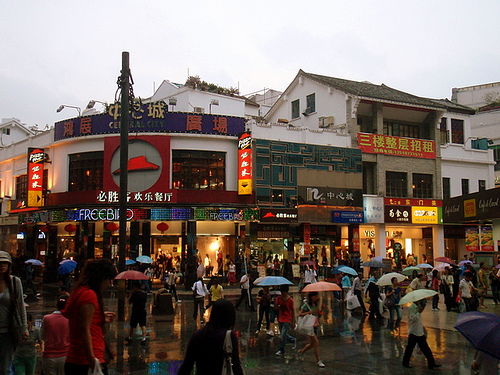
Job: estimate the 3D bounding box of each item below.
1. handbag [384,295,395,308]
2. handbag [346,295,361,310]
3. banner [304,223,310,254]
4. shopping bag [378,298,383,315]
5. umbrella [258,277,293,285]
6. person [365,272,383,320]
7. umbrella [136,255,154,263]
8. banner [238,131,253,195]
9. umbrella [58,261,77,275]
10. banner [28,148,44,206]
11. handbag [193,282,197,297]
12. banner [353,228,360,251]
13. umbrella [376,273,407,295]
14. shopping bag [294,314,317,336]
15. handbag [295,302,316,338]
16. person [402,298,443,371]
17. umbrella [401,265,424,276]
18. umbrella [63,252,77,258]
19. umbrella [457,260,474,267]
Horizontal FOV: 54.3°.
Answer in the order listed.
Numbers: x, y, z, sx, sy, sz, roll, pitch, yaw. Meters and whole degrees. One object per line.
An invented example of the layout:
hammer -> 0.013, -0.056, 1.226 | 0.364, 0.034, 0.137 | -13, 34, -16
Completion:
handbag -> 5.373, 4.392, 18.745 | 0.345, 0.462, 0.352 | 0, -8, 4
handbag -> 4.527, 5.036, 21.340 | 0.569, 0.623, 0.453 | 2, -7, 5
banner -> 4.278, 3.836, 36.555 | 0.585, 2.285, 0.400 | 3, -8, -20
shopping bag -> 5.563, 5.011, 20.695 | 0.173, 0.622, 0.498 | -3, -8, 19
umbrella -> 0.854, 3.203, 16.630 | 1.183, 0.258, 0.735 | -4, -9, 30
person -> 5.279, 4.609, 20.717 | 0.657, 1.988, 1.445 | -2, -8, 15
umbrella -> -6.037, 4.117, 27.765 | 0.819, 0.373, 1.364 | 2, -8, -13
banner -> -0.328, -1.725, 33.145 | 0.978, 4.351, 1.806 | 1, -8, -2
umbrella -> -8.977, 3.933, 23.766 | 0.757, 0.596, 0.892 | 3, -8, -22
banner -> -15.370, -0.707, 34.876 | 1.045, 4.716, 0.340 | 1, -17, -24
handbag -> -2.231, 4.145, 19.817 | 0.115, 0.582, 0.331 | 4, -9, -24
banner -> 8.289, 4.064, 38.036 | 0.507, 1.783, 0.204 | 2, -8, -15
umbrella -> 5.602, 3.824, 19.476 | 0.628, 0.420, 0.584 | -4, -14, -38
shopping bag -> 1.583, 3.904, 13.824 | 0.574, 0.592, 0.287 | -1, -8, 7
handbag -> 1.571, 3.798, 14.010 | 0.625, 0.866, 0.328 | -14, -48, 40
person -> 4.623, 3.957, 13.329 | 0.917, 1.853, 0.782 | -3, -8, 20
umbrella -> 7.708, 4.030, 23.393 | 0.915, 0.346, 0.922 | 4, -15, -27
umbrella -> -10.631, 3.999, 28.772 | 0.543, 0.315, 0.708 | -1, -8, 8
umbrella -> 11.243, 3.944, 25.607 | 0.545, 0.318, 0.563 | -4, -8, 21
